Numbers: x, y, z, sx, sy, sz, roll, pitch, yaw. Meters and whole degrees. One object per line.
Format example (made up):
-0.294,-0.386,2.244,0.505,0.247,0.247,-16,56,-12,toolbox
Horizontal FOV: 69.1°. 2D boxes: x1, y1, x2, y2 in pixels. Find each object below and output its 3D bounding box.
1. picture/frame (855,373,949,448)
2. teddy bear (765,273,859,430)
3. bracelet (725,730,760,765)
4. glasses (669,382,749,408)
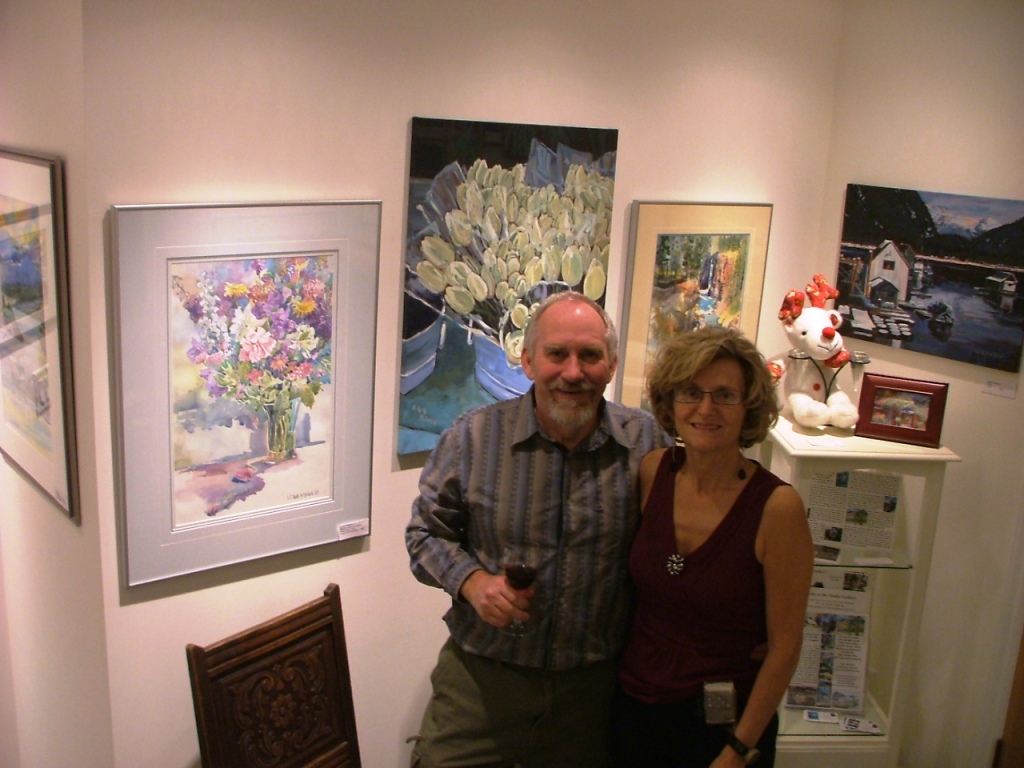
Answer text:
1.498,0.112,2.889,0.285,0.263,0.029,7,3,18,picture/frame
1.253,-0.142,3.156,0.371,0.621,0.369,3,15,26,teddy bear
0.641,1.023,2.080,0.081,0.057,0.091,33,-1,4,bracelet
0.547,0.032,2.085,0.182,0.063,0.044,3,12,14,glasses
